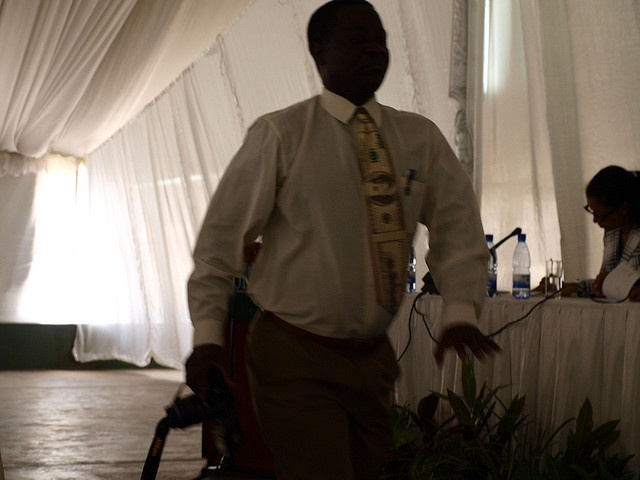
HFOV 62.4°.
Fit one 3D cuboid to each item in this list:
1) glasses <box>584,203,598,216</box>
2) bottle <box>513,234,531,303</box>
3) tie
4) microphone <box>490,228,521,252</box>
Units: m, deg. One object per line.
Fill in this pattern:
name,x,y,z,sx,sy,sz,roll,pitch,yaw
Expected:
glasses,1.614,-0.129,3.173,0.061,0.091,0.035,9,47,43
bottle,1.152,0.176,3.062,0.109,0.370,0.304,-6,-1,20
tie,0.179,-0.068,1.531,0.136,0.559,0.058,-5,-1,5
microphone,1.171,0.042,3.338,0.174,0.053,0.030,-47,-7,39
